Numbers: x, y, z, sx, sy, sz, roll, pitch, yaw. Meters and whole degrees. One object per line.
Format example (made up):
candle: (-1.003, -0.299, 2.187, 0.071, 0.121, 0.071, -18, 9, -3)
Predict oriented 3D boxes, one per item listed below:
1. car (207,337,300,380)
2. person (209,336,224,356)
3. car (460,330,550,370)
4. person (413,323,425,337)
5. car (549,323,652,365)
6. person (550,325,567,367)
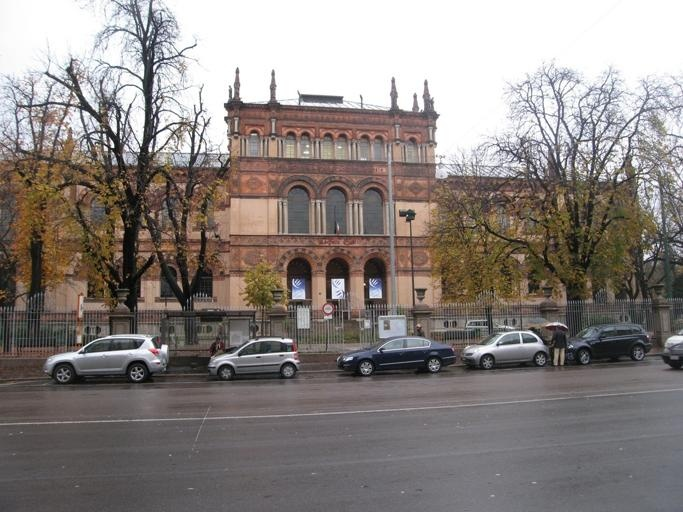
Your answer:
car: (-3.348, 4.149, 30.082, 2.949, 1.535, 1.677, 3, -9, -6)
person: (-5.454, 4.003, 32.716, 0.682, 1.290, 0.409, 1, -15, -7)
car: (6.974, 4.134, 32.345, 3.020, 1.432, 1.680, 2, -8, -11)
person: (3.901, 3.710, 37.318, 0.447, 0.576, 0.739, 1, 3, 20)
car: (11.696, 3.972, 33.418, 3.742, 1.544, 1.739, 1, -9, -8)
person: (9.353, 3.975, 32.094, 0.610, 1.571, 1.512, 1, 3, 17)
